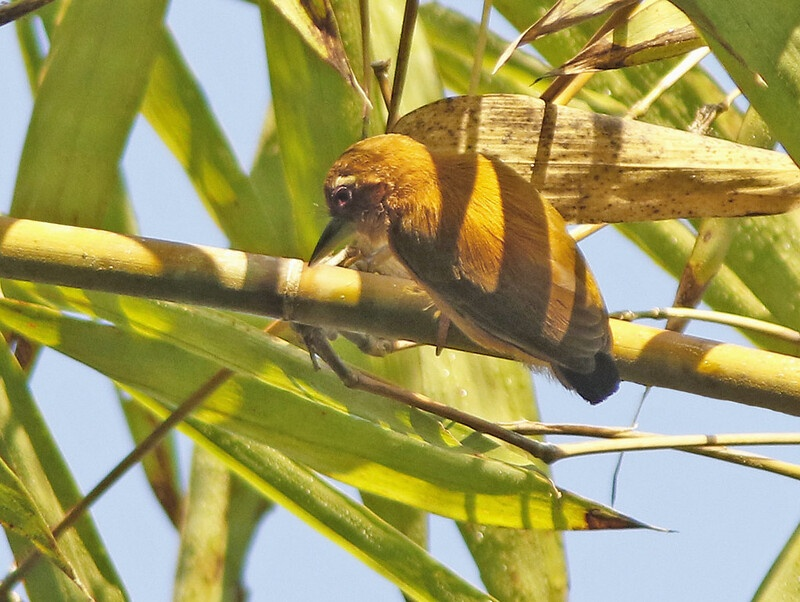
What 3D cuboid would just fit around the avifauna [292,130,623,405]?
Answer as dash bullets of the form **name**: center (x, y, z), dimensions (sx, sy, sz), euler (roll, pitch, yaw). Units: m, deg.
- **avifauna**: center (0.053, -0.029, 0.973), dimensions (0.241, 0.131, 0.157), euler (13, -69, 10)
